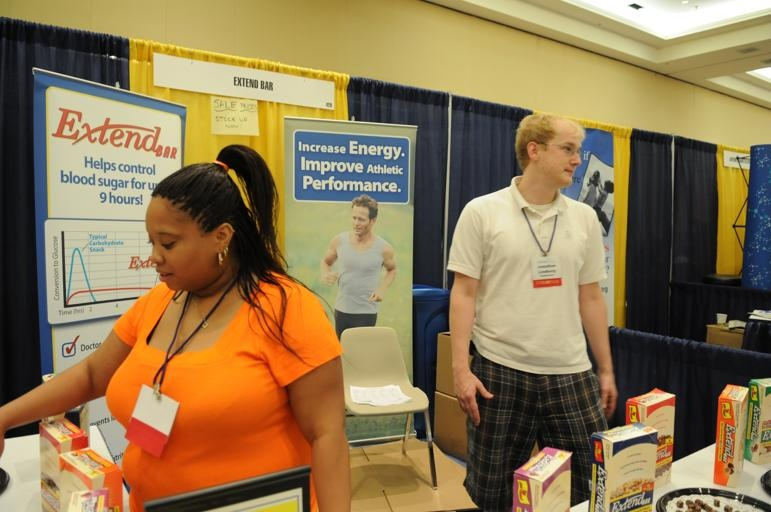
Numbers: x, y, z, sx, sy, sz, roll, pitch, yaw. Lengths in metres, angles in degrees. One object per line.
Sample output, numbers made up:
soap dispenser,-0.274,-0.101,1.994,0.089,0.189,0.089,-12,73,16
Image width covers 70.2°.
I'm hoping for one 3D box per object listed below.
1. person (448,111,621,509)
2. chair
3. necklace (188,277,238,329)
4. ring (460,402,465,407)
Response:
person,0.714,0.401,2.628,0.814,1.540,0.482,1,7,7
chair,0.042,1.037,3.747,0.664,0.997,0.623,-1,7,-6
necklace,-0.571,0.160,1.838,0.029,0.214,0.011,39,-9,5
ring,0.364,0.694,2.586,0.018,0.025,0.007,16,-13,-40
